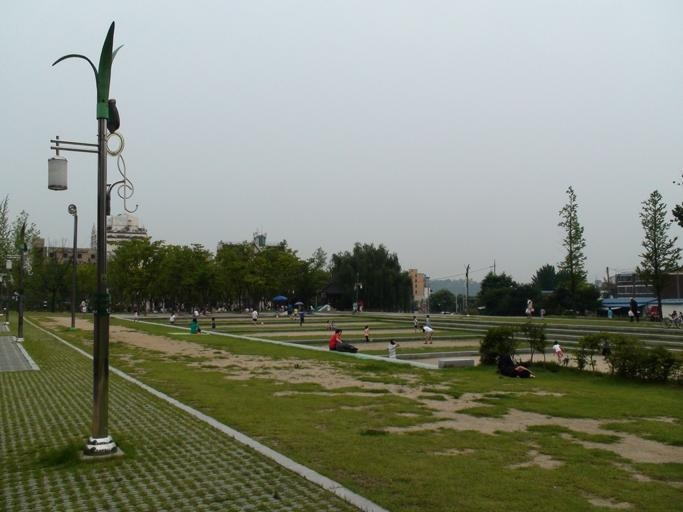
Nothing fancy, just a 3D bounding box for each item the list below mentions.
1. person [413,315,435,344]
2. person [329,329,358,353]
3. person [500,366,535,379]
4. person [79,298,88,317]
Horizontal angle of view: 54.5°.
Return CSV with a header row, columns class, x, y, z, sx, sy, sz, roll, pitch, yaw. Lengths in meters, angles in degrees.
class,x,y,z,sx,sy,sz,roll,pitch,yaw
person,4.900,4.087,37.637,1.330,0.936,1.862,-1,-13,2
person,-0.067,3.682,28.700,1.504,1.163,0.809,1,-3,3
person,5.769,3.803,21.846,1.162,0.285,0.738,0,-1,19
person,-28.820,5.698,73.536,1.113,1.476,3.848,1,-7,-18
